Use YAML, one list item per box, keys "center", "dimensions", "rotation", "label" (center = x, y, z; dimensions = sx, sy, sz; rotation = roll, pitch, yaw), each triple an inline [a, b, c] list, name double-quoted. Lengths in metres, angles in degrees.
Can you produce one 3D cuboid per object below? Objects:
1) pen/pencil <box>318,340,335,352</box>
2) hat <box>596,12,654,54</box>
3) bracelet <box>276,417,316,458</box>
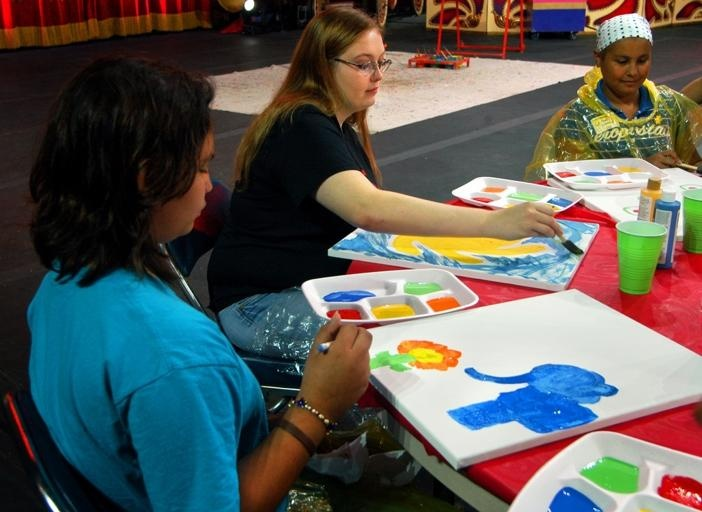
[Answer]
- center: [-0.054, 0.189, 0.997]
  dimensions: [0.017, 0.012, 0.048]
  rotation: [44, 26, 16]
  label: "pen/pencil"
- center: [1.463, -1.205, 2.580]
  dimensions: [0.214, 0.103, 0.198]
  rotation: [3, -5, 44]
  label: "hat"
- center: [-0.099, 0.338, 0.910]
  dimensions: [0.078, 0.017, 0.073]
  rotation: [30, -1, -12]
  label: "bracelet"
